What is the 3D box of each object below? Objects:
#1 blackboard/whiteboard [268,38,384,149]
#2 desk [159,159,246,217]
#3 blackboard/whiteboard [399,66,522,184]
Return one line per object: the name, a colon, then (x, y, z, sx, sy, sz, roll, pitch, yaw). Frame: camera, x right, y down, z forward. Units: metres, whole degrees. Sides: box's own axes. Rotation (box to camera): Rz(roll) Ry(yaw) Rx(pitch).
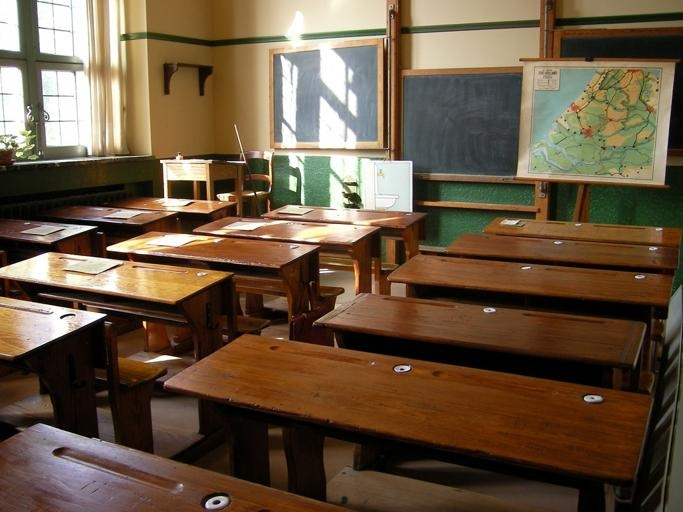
blackboard/whiteboard: (-0.184, -1.913, 6.399, 1.973, 1.191, 0.082, 15, 25, 43)
desk: (-1.542, -0.775, 6.248, 1.182, 0.792, 0.750, 4, 9, 22)
blackboard/whiteboard: (1.317, -1.424, 5.851, 1.872, 1.173, 0.156, -9, 16, -31)
